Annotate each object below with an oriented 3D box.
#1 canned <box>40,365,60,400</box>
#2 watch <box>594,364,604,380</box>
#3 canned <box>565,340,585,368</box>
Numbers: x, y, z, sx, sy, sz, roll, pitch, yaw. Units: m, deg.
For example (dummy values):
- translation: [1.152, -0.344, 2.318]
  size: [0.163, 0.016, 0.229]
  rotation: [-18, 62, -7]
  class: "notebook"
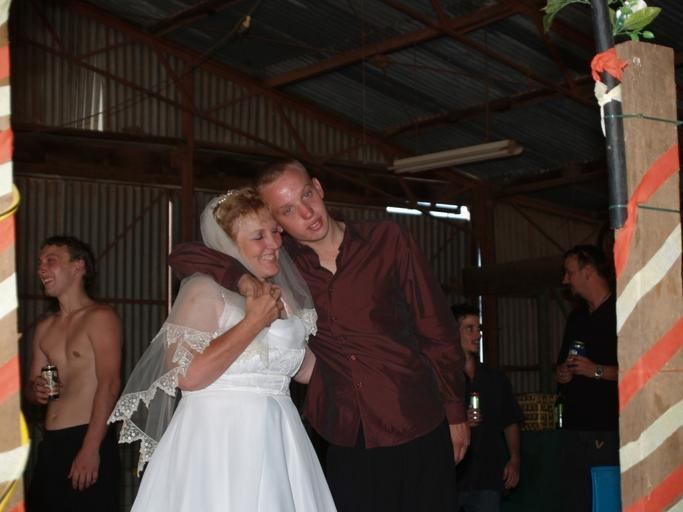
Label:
- translation: [-2.132, 0.933, 7.568]
  size: [0.133, 0.250, 0.100]
  rotation: [4, -8, -24]
  class: "canned"
- translation: [2.037, 0.934, 8.189]
  size: [0.057, 0.095, 0.090]
  rotation: [2, -2, 8]
  class: "watch"
- translation: [1.869, 0.782, 8.233]
  size: [0.129, 0.196, 0.104]
  rotation: [-1, -7, 16]
  class: "canned"
